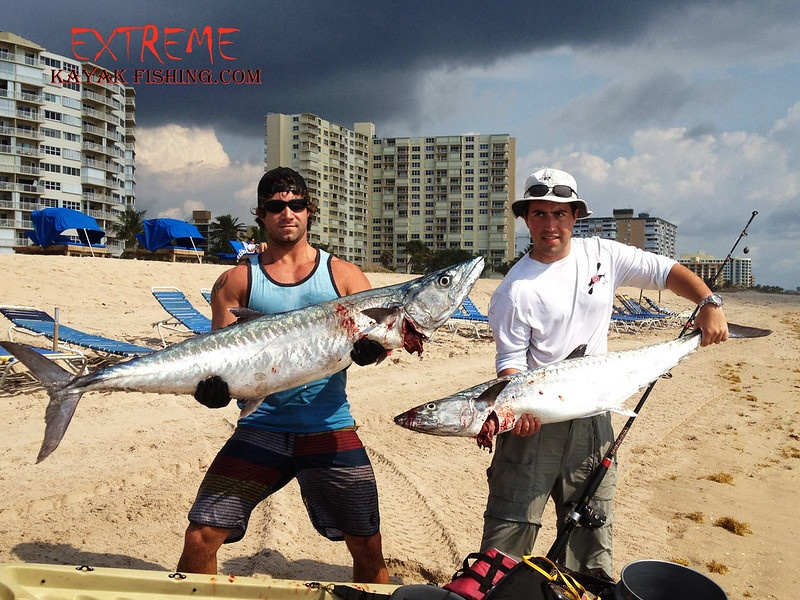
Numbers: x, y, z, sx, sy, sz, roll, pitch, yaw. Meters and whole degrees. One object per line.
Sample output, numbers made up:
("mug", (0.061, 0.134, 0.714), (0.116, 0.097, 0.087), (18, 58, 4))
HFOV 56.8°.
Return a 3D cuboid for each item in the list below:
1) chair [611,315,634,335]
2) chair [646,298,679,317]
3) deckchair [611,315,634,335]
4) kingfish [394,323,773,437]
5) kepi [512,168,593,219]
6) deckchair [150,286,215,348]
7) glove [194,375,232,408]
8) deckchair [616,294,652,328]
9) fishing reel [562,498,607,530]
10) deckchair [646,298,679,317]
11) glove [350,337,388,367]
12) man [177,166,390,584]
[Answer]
("chair", (7.943, 0.880, 26.687), (0.750, 0.764, 2.311), (-3, -7, 20))
("chair", (13.548, 0.372, 38.464), (0.561, 0.634, 4.047), (-14, -1, 13))
("deckchair", (7.943, 0.880, 26.687), (0.750, 0.764, 2.311), (-3, -7, 20))
("kingfish", (2.506, 1.114, 9.870), (4.265, 0.769, 1.039), (-11, -16, -10))
("kepi", (1.353, -0.942, 6.662), (0.673, 0.438, 0.401), (5, 12, 9))
("deckchair", (-5.232, 0.247, 17.143), (0.885, 0.698, 1.897), (-13, 24, -24))
("glove", (-1.560, 0.770, 6.144), (0.295, 0.266, 0.133), (1, 12, -6))
("deckchair", (9.138, 0.527, 29.434), (1.102, 0.258, 4.138), (1, 8, 6))
("fishing reel", (1.555, 1.798, 6.317), (0.349, 0.247, 0.128), (-1, 8, -2))
("deckchair", (13.548, 0.372, 38.464), (0.561, 0.635, 4.047), (-14, -1, 13))
("glove", (-0.243, 0.432, 6.152), (0.322, 0.231, 0.197), (2, 12, -4))
("man", (-0.946, 0.982, 6.402), (1.888, 4.326, 1.480), (0, -10, -9))
